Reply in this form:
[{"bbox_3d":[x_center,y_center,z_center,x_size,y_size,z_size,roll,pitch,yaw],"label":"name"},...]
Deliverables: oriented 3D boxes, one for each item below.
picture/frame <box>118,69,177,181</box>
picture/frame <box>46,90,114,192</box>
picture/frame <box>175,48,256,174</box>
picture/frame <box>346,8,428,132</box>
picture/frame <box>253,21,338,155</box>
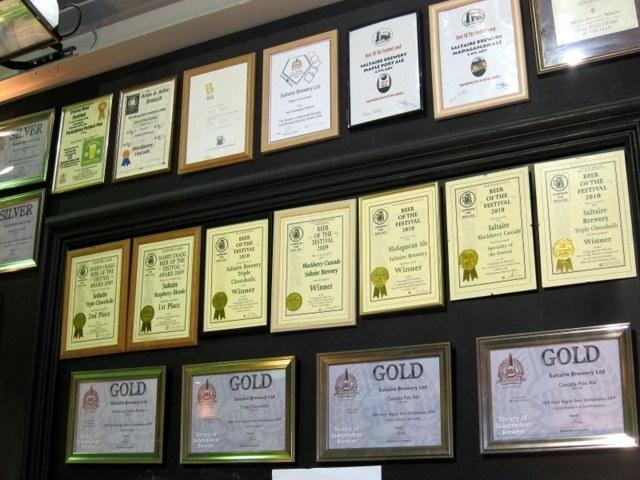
[{"bbox_3d":[-0.856,-0.551,3.323,0.456,0.660,0.043,-10,-22,25],"label":"picture/frame"},{"bbox_3d":[-1.251,-0.497,3.484,0.450,0.658,0.028,-10,-26,23],"label":"picture/frame"},{"bbox_3d":[-0.489,-0.596,3.184,0.508,0.684,0.050,-10,-22,26],"label":"picture/frame"},{"bbox_3d":[0.304,-0.721,2.901,0.458,0.674,0.044,-9,-24,23],"label":"picture/frame"},{"bbox_3d":[-0.090,-0.683,3.049,0.385,0.556,0.029,-9,-22,20],"label":"picture/frame"}]
